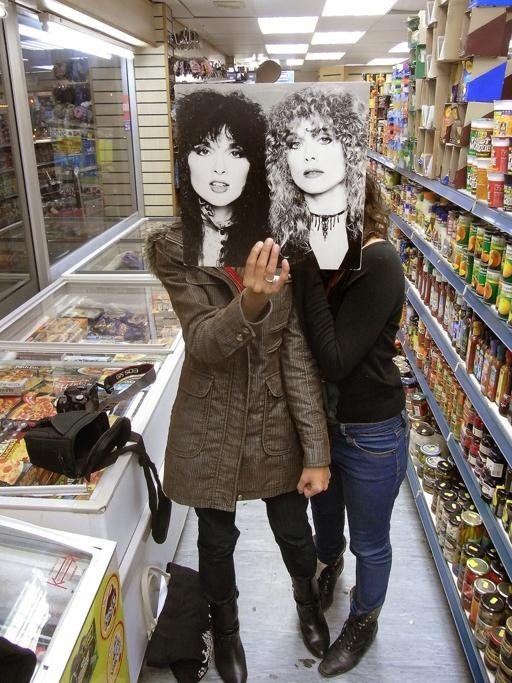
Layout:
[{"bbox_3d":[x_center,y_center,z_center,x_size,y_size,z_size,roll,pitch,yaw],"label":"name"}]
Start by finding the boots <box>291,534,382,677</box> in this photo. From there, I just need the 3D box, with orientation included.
[{"bbox_3d":[0.315,0.968,1.777,0.175,0.222,0.532,0,26,14],"label":"boots"}]

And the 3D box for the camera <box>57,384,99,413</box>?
[{"bbox_3d":[-0.558,0.205,1.438,0.121,0.069,0.086,-1,37,5],"label":"camera"}]

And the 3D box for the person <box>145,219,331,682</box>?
[{"bbox_3d":[-0.031,0.466,1.317,0.500,1.561,0.354,3,24,10],"label":"person"}]
